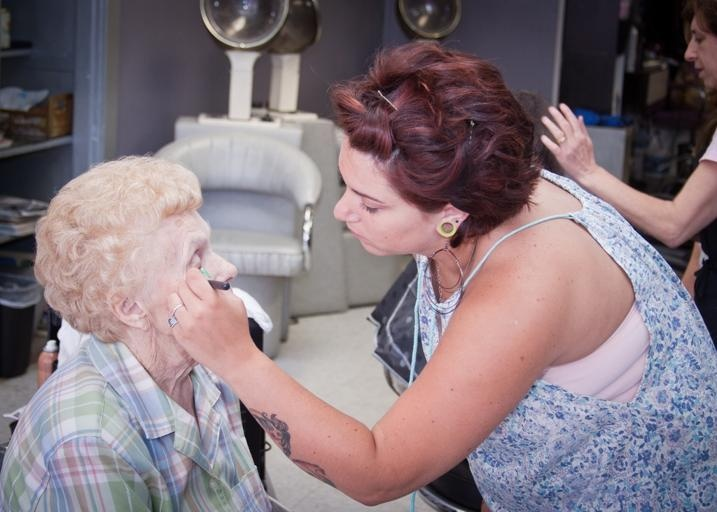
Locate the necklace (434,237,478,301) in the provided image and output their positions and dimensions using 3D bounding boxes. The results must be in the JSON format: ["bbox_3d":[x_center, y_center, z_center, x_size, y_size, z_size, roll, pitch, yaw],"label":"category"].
[{"bbox_3d":[0.223,0.027,1.441,0.008,0.105,0.097,-5,61,-31],"label":"necklace"}]

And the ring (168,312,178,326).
[{"bbox_3d":[-0.378,0.133,1.327,0.011,0.031,0.029,5,5,-43],"label":"ring"}]

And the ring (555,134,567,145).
[{"bbox_3d":[0.569,-0.320,1.794,0.022,0.027,0.013,-24,58,-6],"label":"ring"}]

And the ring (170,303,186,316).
[{"bbox_3d":[-0.362,0.109,1.292,0.008,0.025,0.022,16,-2,-8],"label":"ring"}]

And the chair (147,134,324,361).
[{"bbox_3d":[-0.558,-0.061,3.030,0.707,0.918,0.584,-2,22,-22],"label":"chair"}]
